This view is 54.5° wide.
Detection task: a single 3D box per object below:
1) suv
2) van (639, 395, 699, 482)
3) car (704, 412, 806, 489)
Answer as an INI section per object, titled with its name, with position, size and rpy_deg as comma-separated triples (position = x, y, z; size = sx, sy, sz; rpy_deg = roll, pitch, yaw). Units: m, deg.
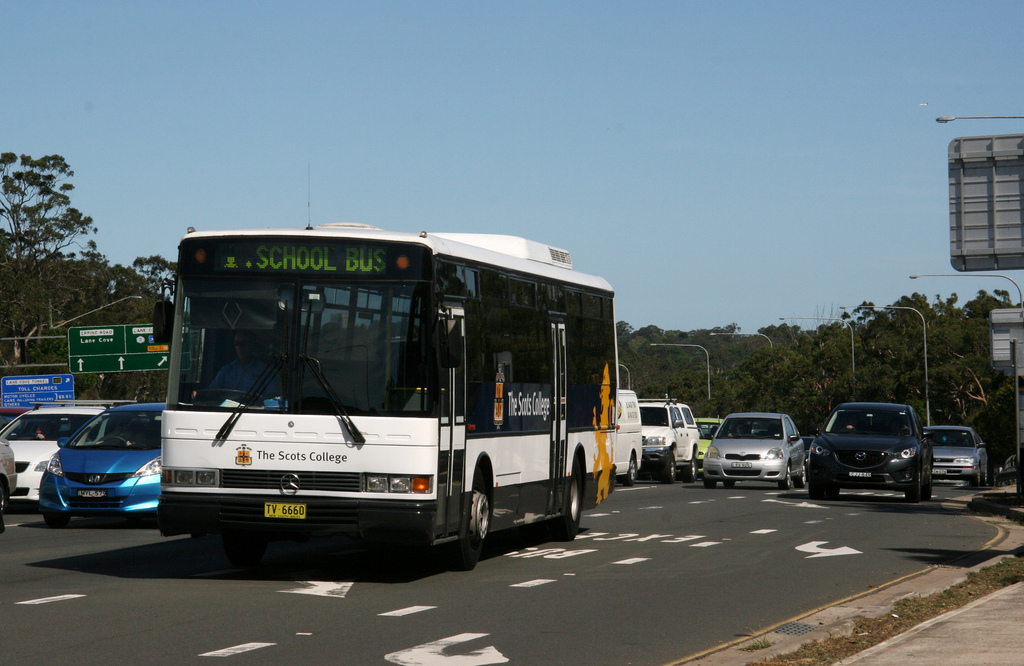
[suv]
position = 10.041, 3.339, 28.019
size = 3.236, 2.742, 2.217
rpy_deg = 0, -4, 13
[van]
position = 6.434, 4.407, 40.200
size = 2.054, 2.081, 3.590
rpy_deg = -3, -10, 17
[car]
position = 8.563, 4.062, 34.375
size = 3.819, 2.572, 2.287
rpy_deg = 5, -6, -39
